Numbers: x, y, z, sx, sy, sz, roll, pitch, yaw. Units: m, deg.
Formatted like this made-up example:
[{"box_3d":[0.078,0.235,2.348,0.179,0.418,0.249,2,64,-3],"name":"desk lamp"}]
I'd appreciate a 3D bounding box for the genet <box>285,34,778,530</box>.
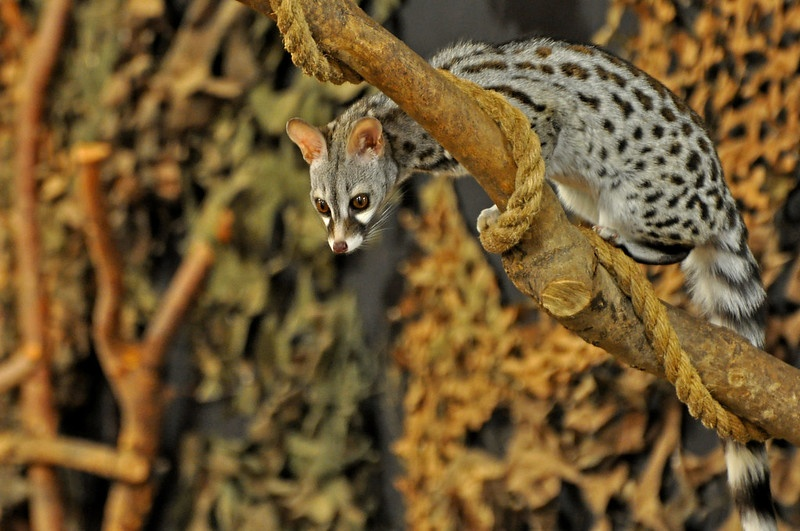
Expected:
[{"box_3d":[0.553,-0.149,4.825,1.813,0.979,0.710,20,39,17],"name":"genet"}]
